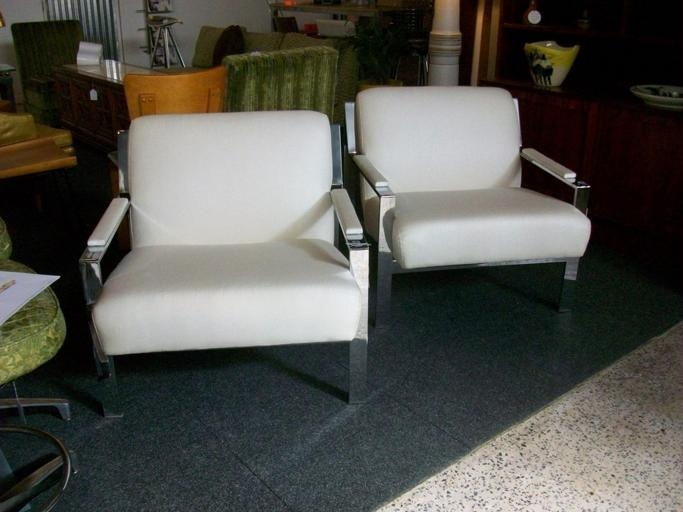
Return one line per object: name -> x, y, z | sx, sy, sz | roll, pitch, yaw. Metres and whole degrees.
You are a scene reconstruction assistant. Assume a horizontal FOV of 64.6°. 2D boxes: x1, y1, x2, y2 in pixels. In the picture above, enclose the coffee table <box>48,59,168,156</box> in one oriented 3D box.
coffee table -> -2.170, -1.395, 5.125 | 1.250, 0.623, 0.471 | 23, 28, 29
